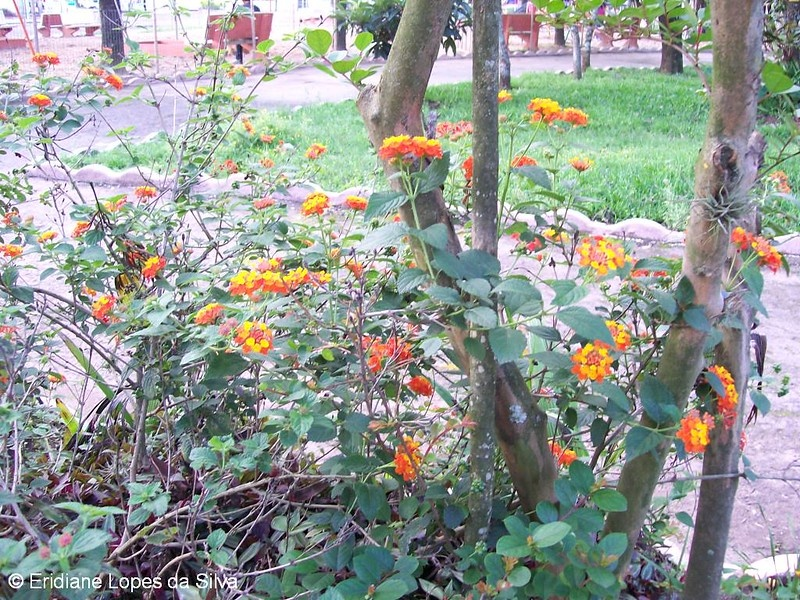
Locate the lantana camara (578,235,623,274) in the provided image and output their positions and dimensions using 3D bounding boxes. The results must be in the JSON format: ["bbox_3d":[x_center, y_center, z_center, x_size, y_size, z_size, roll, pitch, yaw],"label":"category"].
[{"bbox_3d":[0.579,-0.114,2.144,0.126,0.128,0.229,5,20,14],"label":"lantana camara"}]

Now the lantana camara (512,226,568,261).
[{"bbox_3d":[0.524,-0.207,2.720,0.169,0.059,0.171,-30,30,-21],"label":"lantana camara"}]

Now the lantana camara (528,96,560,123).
[{"bbox_3d":[0.531,-0.667,2.660,0.108,0.071,0.109,5,32,-21],"label":"lantana camara"}]

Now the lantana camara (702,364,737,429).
[{"bbox_3d":[1.005,0.294,2.283,0.167,0.171,0.093,23,-16,-33],"label":"lantana camara"}]

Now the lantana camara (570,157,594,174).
[{"bbox_3d":[0.723,-0.535,2.974,0.111,0.072,0.115,5,5,4],"label":"lantana camara"}]

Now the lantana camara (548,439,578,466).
[{"bbox_3d":[0.535,0.508,2.464,0.101,0.059,0.087,27,11,-39],"label":"lantana camara"}]

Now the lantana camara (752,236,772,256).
[{"bbox_3d":[1.113,-0.161,2.329,0.060,0.049,0.064,39,9,10],"label":"lantana camara"}]

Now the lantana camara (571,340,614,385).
[{"bbox_3d":[0.534,0.177,2.117,0.117,0.119,0.045,42,-13,15],"label":"lantana camara"}]

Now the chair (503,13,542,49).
[{"bbox_3d":[3.157,-6.934,19.335,0.878,0.959,3.632,3,20,9],"label":"chair"}]

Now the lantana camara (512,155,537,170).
[{"bbox_3d":[0.436,-0.489,2.650,0.081,0.055,0.092,2,10,14],"label":"lantana camara"}]
